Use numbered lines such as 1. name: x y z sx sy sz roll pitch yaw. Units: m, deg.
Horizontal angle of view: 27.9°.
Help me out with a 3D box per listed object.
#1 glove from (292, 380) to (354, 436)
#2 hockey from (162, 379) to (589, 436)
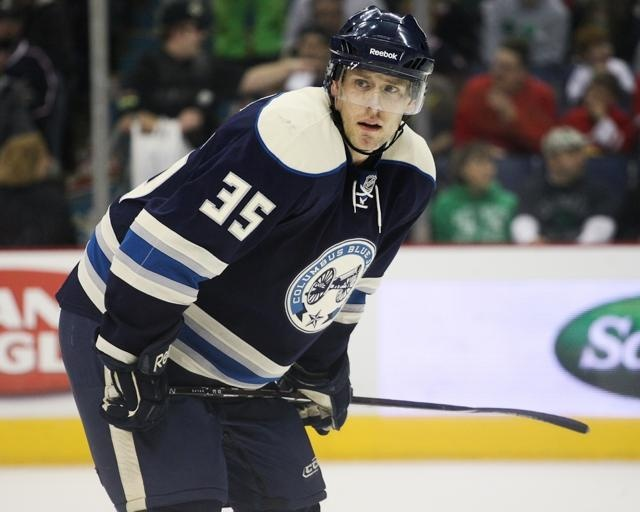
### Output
1. glove: 0.025 0.632 5.357 0.212 0.213 0.090 6 31 14
2. hockey: 0.329 0.663 5.567 2.241 0.222 0.105 9 -21 -34
